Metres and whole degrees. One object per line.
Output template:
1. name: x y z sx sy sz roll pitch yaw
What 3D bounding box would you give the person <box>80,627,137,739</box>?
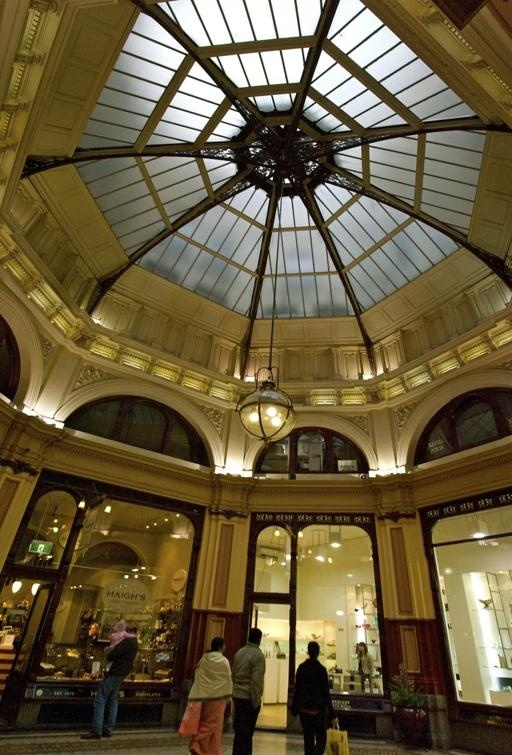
1. person: -1.952 4.163 5.133 0.446 1.213 1.184 12 -34 -14
